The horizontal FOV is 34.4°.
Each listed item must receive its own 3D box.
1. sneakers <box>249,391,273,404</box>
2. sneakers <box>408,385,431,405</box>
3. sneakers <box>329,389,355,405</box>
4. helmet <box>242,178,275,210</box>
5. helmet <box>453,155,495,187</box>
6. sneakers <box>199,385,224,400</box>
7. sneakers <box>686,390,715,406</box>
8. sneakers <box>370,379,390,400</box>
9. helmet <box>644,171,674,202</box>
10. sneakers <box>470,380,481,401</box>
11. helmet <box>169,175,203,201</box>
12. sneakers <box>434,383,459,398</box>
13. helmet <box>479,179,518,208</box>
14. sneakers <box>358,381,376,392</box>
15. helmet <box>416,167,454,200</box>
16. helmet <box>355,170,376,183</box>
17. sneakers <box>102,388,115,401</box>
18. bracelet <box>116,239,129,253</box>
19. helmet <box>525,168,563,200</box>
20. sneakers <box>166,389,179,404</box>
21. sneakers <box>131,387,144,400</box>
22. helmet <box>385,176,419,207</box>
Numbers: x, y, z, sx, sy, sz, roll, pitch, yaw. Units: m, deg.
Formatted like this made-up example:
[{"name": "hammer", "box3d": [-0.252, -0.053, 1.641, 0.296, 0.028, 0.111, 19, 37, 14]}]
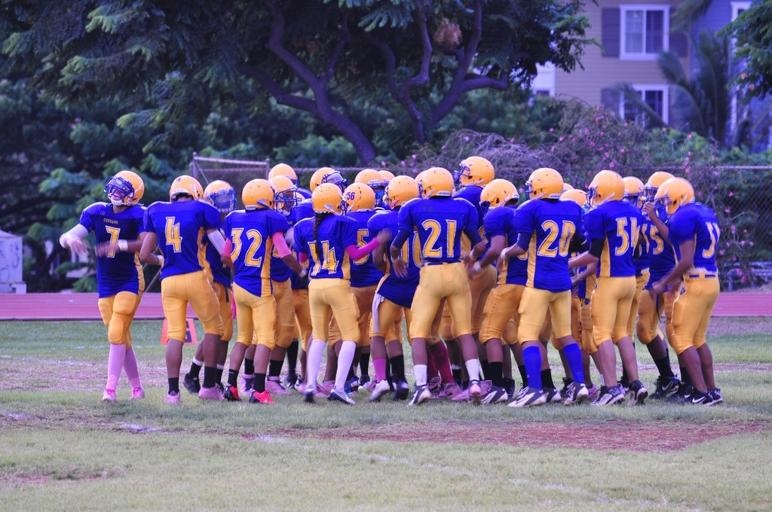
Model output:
[{"name": "sneakers", "box3d": [-2.101, 2.369, 20.889, 0.379, 0.179, 0.173, 1, 0, -5]}, {"name": "sneakers", "box3d": [0.536, 2.366, 20.896, 0.186, 0.226, 0.516, -6, -14, -16]}, {"name": "sneakers", "box3d": [-0.770, 2.360, 20.867, 0.529, 0.221, 0.187, 11, 1, -9]}, {"name": "helmet", "box3d": [-2.174, -1.069, 21.204, 0.432, 0.502, 0.530, 10, 15, 40]}, {"name": "helmet", "box3d": [1.572, -1.529, 21.884, 0.589, 0.469, 0.459, 19, 17, 24]}, {"name": "sneakers", "box3d": [-2.998, 2.326, 21.182, 0.509, 0.228, 0.181, 0, 5, -22]}, {"name": "sneakers", "box3d": [5.228, 2.362, 20.713, 0.441, 0.190, 0.179, 4, 2, 19]}, {"name": "sneakers", "box3d": [-0.152, 2.309, 21.098, 0.194, 0.230, 0.536, 30, -31, -3]}, {"name": "helmet", "box3d": [4.710, -1.225, 21.618, 0.533, 0.495, 0.421, 2, -4, 2]}, {"name": "sneakers", "box3d": [1.476, 2.243, 20.691, 0.184, 0.384, 0.218, -1, -1, -1]}, {"name": "helmet", "box3d": [-3.421, -1.108, 21.341, 0.385, 0.390, 0.502, -7, -38, 11]}, {"name": "sneakers", "box3d": [1.042, 2.327, 21.514, 0.336, 0.137, 0.256, -14, 11, -19]}, {"name": "helmet", "box3d": [1.979, -1.065, 21.497, 0.575, 0.470, 0.432, 19, 2, 18]}, {"name": "sneakers", "box3d": [-0.352, 2.306, 21.983, 0.165, 0.092, 0.252, -6, -12, -29]}, {"name": "helmet", "box3d": [0.829, -1.247, 20.981, 0.424, 0.438, 0.567, -3, 16, -11]}, {"name": "helmet", "box3d": [-0.376, -1.430, 22.316, 0.275, 0.241, 0.325, -20, 6, -34]}, {"name": "sneakers", "box3d": [-4.633, 2.310, 20.813, 0.209, 0.219, 0.268, -1, -1, -13]}, {"name": "bracelet", "box3d": [-4.425, -0.181, 20.917, 0.170, 0.205, 0.171, -1, -1, -25]}, {"name": "helmet", "box3d": [2.637, -1.217, 20.811, 0.459, 0.421, 0.540, -5, 8, -16]}, {"name": "sneakers", "box3d": [-3.574, 2.369, 20.841, 0.229, 0.226, 0.137, 0, 3, 2]}, {"name": "sneakers", "box3d": [-4.221, 2.329, 21.214, 0.199, 0.198, 0.205, 1, -14, -1]}, {"name": "helmet", "box3d": [0.256, -1.126, 21.514, 0.459, 0.449, 0.545, -12, 25, -25]}]
